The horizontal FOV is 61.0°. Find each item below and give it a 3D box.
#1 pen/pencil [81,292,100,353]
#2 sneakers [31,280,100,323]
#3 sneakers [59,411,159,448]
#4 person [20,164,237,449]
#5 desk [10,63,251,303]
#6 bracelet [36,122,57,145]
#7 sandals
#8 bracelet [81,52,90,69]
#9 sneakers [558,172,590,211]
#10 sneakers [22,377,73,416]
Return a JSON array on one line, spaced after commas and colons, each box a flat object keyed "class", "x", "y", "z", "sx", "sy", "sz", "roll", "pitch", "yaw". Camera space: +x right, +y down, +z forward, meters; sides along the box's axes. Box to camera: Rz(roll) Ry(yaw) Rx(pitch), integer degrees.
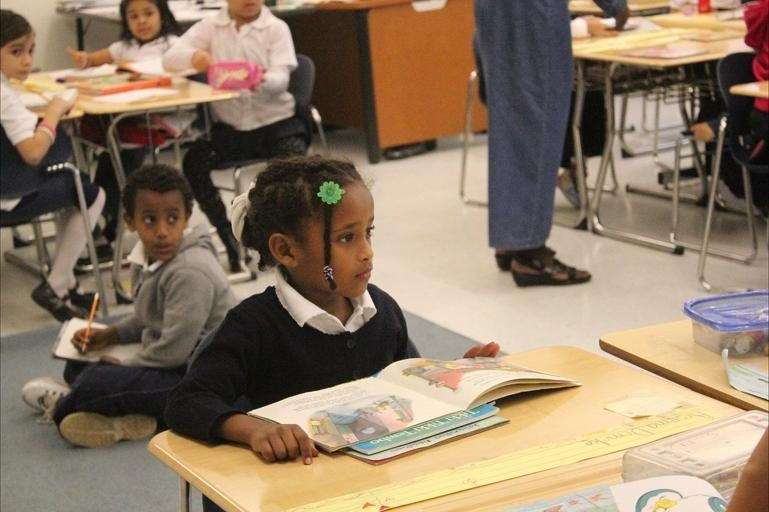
[{"class": "pen/pencil", "x": -0.868, "y": 0.199, "z": 1.933, "sx": 0.025, "sy": 0.162, "sz": 0.025, "roll": 17, "pitch": -20, "yaw": -21}, {"class": "sneakers", "x": -0.987, "y": 0.147, "z": 2.049, "sx": 0.184, "sy": 0.069, "sz": 0.099, "roll": 16, "pitch": 43, "yaw": -2}, {"class": "sneakers", "x": -0.757, "y": 0.474, "z": 1.782, "sx": 0.289, "sy": 0.097, "sz": 0.119, "roll": 4, "pitch": -8, "yaw": -11}, {"class": "person", "x": -0.765, "y": 0.114, "z": 1.886, "sx": 0.562, "sy": 0.704, "sz": 0.647, "roll": 2, "pitch": 6, "yaw": 23}, {"class": "desk", "x": -0.938, "y": -0.161, "z": 2.419, "sx": 0.615, "sy": 0.697, "sz": 1.056, "roll": -12, "pitch": 24, "yaw": -33}, {"class": "bracelet", "x": -0.936, "y": -0.345, "z": 1.812, "sx": 0.048, "sy": 0.032, "sz": 0.047, "roll": 4, "pitch": 7, "yaw": -35}, {"class": "sandals", "x": 0.628, "y": 0.024, "z": 2.567, "sx": 0.273, "sy": 0.099, "sz": 0.165, "roll": -4, "pitch": 22, "yaw": -9}, {"class": "bracelet", "x": -0.876, "y": -0.574, "z": 1.919, "sx": 0.030, "sy": 0.037, "sz": 0.035, "roll": -1, "pitch": -9, "yaw": -26}, {"class": "sneakers", "x": 0.884, "y": -0.335, "z": 3.130, "sx": 0.077, "sy": 0.223, "sz": 0.096, "roll": -36, "pitch": -11, "yaw": 11}, {"class": "sneakers", "x": -0.989, "y": 0.410, "z": 1.922, "sx": 0.161, "sy": 0.090, "sz": 0.066, "roll": 25, "pitch": 33, "yaw": -15}]
